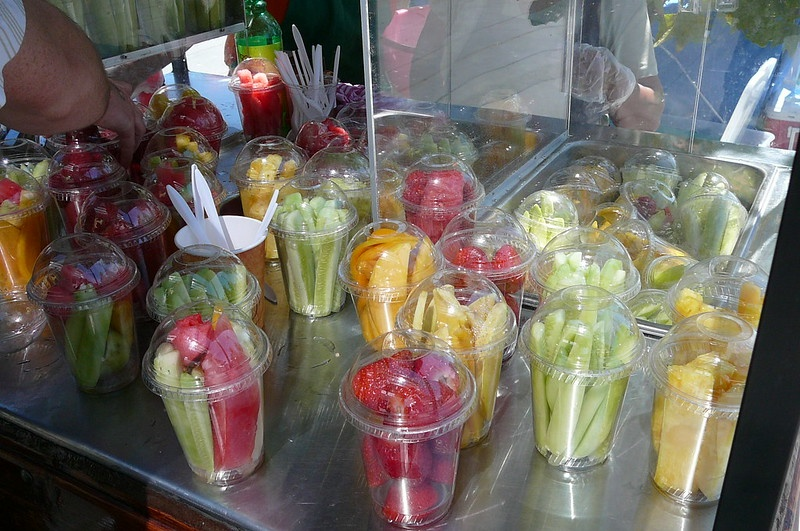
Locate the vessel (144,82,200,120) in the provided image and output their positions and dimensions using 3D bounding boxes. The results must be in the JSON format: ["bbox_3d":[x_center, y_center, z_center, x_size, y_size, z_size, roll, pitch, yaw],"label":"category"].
[{"bbox_3d":[-0.844,-0.601,2.009,0.174,0.128,0.179,15,39,38],"label":"vessel"}]

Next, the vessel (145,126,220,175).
[{"bbox_3d":[-0.649,-0.334,1.679,0.165,0.154,0.177,-14,31,-6],"label":"vessel"}]

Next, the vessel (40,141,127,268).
[{"bbox_3d":[-0.860,-0.204,1.544,0.229,0.248,0.249,-9,23,-23],"label":"vessel"}]
